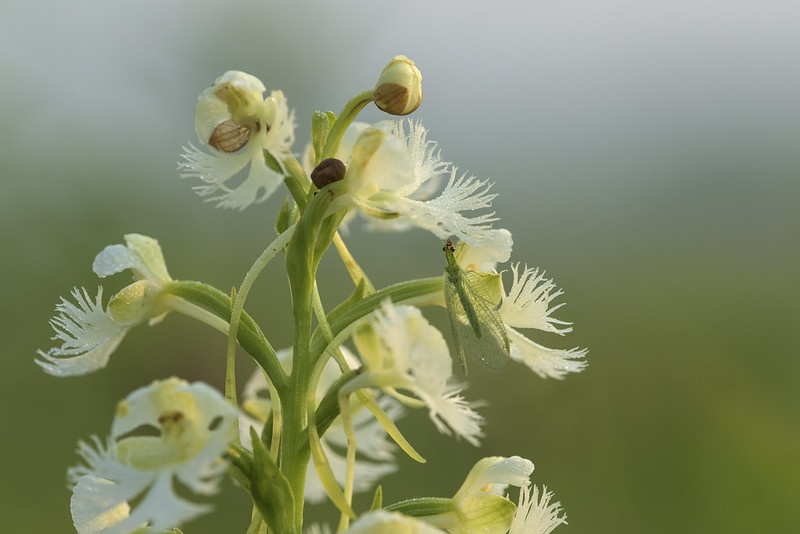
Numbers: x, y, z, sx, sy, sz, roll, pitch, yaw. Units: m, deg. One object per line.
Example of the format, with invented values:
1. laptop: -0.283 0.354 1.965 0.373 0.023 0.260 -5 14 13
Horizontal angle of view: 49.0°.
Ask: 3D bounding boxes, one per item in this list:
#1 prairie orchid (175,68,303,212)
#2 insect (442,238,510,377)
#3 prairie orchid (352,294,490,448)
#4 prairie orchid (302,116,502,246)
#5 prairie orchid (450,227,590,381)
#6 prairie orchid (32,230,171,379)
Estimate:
1. prairie orchid: -0.452 -0.366 2.560 0.306 0.418 0.154 -2 -1 6
2. insect: 0.206 0.135 2.519 0.206 0.084 0.362 -2 69 -20
3. prairie orchid: 0.071 0.300 2.455 0.385 0.162 0.358 39 25 3
4. prairie orchid: -0.001 -0.228 2.558 0.560 0.381 0.332 9 21 2
5. prairie orchid: 0.304 0.129 2.536 0.440 0.356 0.174 37 -2 5
6. prairie orchid: -0.823 0.144 2.596 0.442 0.119 0.312 -33 61 1
